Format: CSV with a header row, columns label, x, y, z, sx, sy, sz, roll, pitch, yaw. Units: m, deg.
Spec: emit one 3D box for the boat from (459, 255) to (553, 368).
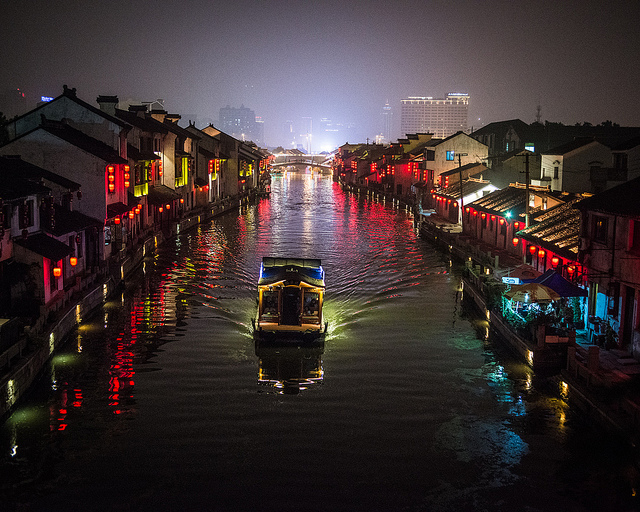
label,x,y,z,sx,sy,sz,roll,pitch,yaw
boat,10.032,3.154,34.987,1.460,1.708,14.477,-4,15,1
